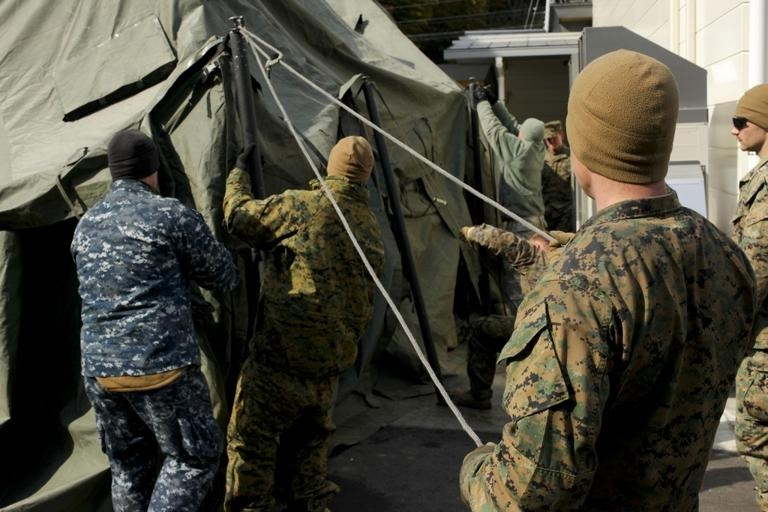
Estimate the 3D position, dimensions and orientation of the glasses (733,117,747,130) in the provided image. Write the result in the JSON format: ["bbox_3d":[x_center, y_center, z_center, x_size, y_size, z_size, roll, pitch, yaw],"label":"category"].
[{"bbox_3d":[2.614,-0.957,8.926,0.081,0.086,0.042,4,0,38],"label":"glasses"}]

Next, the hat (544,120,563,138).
[{"bbox_3d":[1.876,-1.383,13.436,0.248,0.125,0.346,-7,2,14],"label":"hat"}]

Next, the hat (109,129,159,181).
[{"bbox_3d":[-1.677,-0.687,8.238,0.336,0.274,0.297,-24,40,-17],"label":"hat"}]

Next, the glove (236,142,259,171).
[{"bbox_3d":[-0.956,-0.692,8.645,0.132,0.217,0.066,21,-2,30],"label":"glove"}]

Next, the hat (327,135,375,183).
[{"bbox_3d":[-0.215,-0.677,8.650,0.259,0.292,0.353,19,27,-2],"label":"hat"}]

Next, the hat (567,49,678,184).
[{"bbox_3d":[1.284,-0.821,6.917,0.593,0.615,0.733,-7,34,-6],"label":"hat"}]
